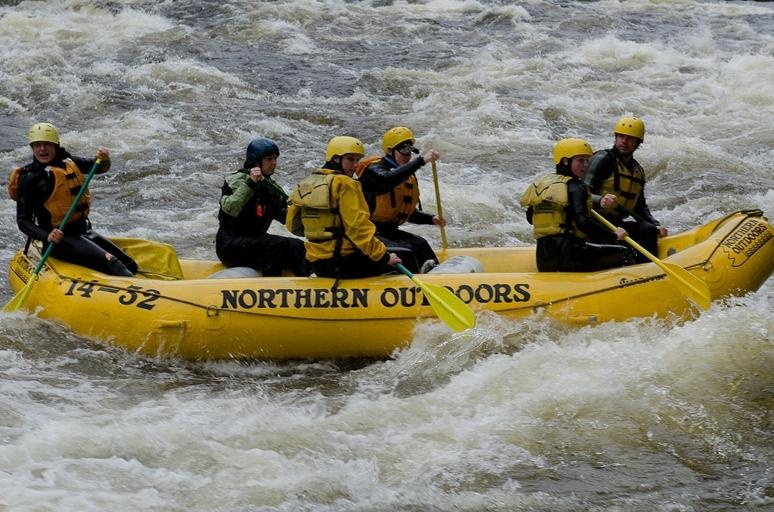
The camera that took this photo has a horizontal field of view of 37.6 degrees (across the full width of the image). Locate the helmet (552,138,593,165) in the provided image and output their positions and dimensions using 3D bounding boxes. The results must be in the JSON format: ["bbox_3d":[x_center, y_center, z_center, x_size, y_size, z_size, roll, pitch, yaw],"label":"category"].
[{"bbox_3d":[2.173,-1.241,13.440,0.505,0.208,0.332,9,17,23],"label":"helmet"}]

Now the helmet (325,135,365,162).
[{"bbox_3d":[-0.528,-1.284,13.501,0.478,0.198,0.318,-1,2,17],"label":"helmet"}]

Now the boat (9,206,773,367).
[{"bbox_3d":[-0.160,0.452,13.747,9.486,1.063,2.749,0,11,0],"label":"boat"}]

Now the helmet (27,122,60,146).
[{"bbox_3d":[-4.185,-1.419,13.782,0.400,0.380,0.276,-1,48,-2],"label":"helmet"}]

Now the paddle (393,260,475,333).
[{"bbox_3d":[0.530,0.456,13.093,1.486,0.111,0.373,32,76,30],"label":"paddle"}]

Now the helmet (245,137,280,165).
[{"bbox_3d":[-1.565,-1.303,14.039,0.467,0.245,0.372,-10,4,9],"label":"helmet"}]
